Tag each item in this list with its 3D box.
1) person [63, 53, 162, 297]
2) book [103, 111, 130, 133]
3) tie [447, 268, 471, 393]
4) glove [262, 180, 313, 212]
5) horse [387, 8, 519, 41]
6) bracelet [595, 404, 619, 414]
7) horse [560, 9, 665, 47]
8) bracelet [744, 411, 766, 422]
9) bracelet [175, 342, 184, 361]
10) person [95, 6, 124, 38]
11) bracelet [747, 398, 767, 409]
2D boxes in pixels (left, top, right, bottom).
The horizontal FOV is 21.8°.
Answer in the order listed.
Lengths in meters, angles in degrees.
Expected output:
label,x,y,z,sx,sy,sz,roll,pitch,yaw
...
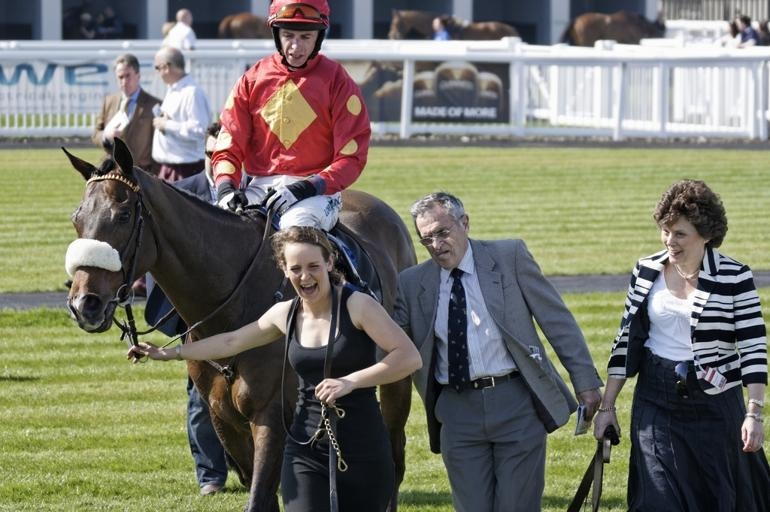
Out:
label,x,y,z,sx,sy,sz,roll,pitch,yaw
person,-3.443,-1.113,25.641,0.896,2.691,0.851,5,8,27
book,-3.484,-1.676,25.526,0.070,0.274,0.292,31,19,-39
tie,0.785,0.778,21.557,0.237,1.259,0.209,-1,5,1
glove,-1.092,-0.683,21.965,0.528,0.282,0.198,-20,-31,-11
horse,1.154,-4.193,36.704,1.457,0.630,4.153,-2,5,-12
bracelet,2.411,1.645,21.750,0.259,0.076,0.291,1,-8,-13
horse,4.127,-3.999,35.664,1.729,0.632,1.522,-1,5,-7
bracelet,3.986,1.711,21.407,0.130,0.064,0.120,16,-23,6
bracelet,-2.247,1.020,21.409,0.135,0.108,0.130,-1,-23,-8
person,-5.835,-4.780,41.395,0.522,0.668,0.749,-1,5,-8
bracelet,4.013,1.557,21.426,0.128,0.055,0.104,21,-11,-11
